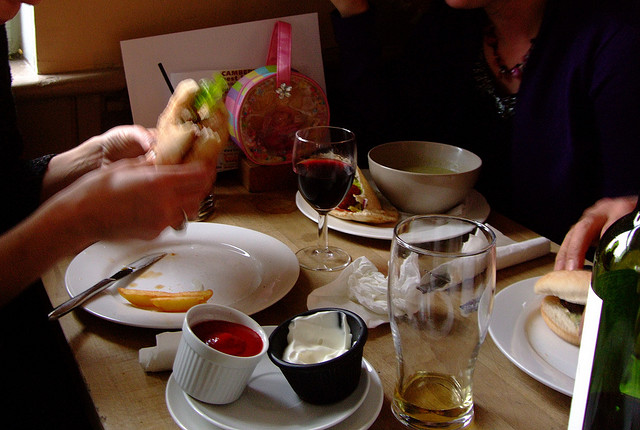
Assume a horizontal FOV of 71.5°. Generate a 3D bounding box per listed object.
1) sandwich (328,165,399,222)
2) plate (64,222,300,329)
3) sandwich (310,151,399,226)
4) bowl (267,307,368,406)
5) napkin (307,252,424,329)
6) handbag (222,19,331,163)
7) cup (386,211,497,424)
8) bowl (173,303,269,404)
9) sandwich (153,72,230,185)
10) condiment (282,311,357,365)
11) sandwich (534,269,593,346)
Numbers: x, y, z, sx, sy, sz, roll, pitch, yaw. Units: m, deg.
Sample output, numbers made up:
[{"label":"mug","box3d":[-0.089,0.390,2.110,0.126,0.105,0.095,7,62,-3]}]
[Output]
[{"label":"sandwich","box3d":[0.115,-0.036,1.230,0.161,0.063,0.164,25,38,23]},{"label":"plate","box3d":[-0.268,0.128,0.950,0.435,0.049,0.446,6,21,-4]},{"label":"sandwich","box3d":[0.130,-0.047,1.296,0.201,0.081,0.218,-23,13,-40]},{"label":"bowl","box3d":[0.005,0.244,0.724,0.135,0.093,0.138,-7,13,2]},{"label":"napkin","box3d":[0.080,0.114,0.836,0.162,0.063,0.167,18,23,34]},{"label":"handbag","box3d":[-0.138,-0.400,1.431,0.328,0.399,0.239,-10,28,-17]},{"label":"cup","box3d":[0.180,0.165,0.695,0.155,0.303,0.161,-1,27,0]},{"label":"bowl","box3d":[-0.168,0.231,0.735,0.127,0.100,0.133,25,10,-5]},{"label":"sandwich","box3d":[-0.266,-0.236,0.976,0.136,0.316,0.157,20,60,-7]},{"label":"condiment","box3d":[0.004,0.204,0.721,0.108,0.053,0.132,-9,10,-2]},{"label":"sandwich","box3d":[0.436,0.168,0.796,0.109,0.081,0.115,13,25,43]}]
